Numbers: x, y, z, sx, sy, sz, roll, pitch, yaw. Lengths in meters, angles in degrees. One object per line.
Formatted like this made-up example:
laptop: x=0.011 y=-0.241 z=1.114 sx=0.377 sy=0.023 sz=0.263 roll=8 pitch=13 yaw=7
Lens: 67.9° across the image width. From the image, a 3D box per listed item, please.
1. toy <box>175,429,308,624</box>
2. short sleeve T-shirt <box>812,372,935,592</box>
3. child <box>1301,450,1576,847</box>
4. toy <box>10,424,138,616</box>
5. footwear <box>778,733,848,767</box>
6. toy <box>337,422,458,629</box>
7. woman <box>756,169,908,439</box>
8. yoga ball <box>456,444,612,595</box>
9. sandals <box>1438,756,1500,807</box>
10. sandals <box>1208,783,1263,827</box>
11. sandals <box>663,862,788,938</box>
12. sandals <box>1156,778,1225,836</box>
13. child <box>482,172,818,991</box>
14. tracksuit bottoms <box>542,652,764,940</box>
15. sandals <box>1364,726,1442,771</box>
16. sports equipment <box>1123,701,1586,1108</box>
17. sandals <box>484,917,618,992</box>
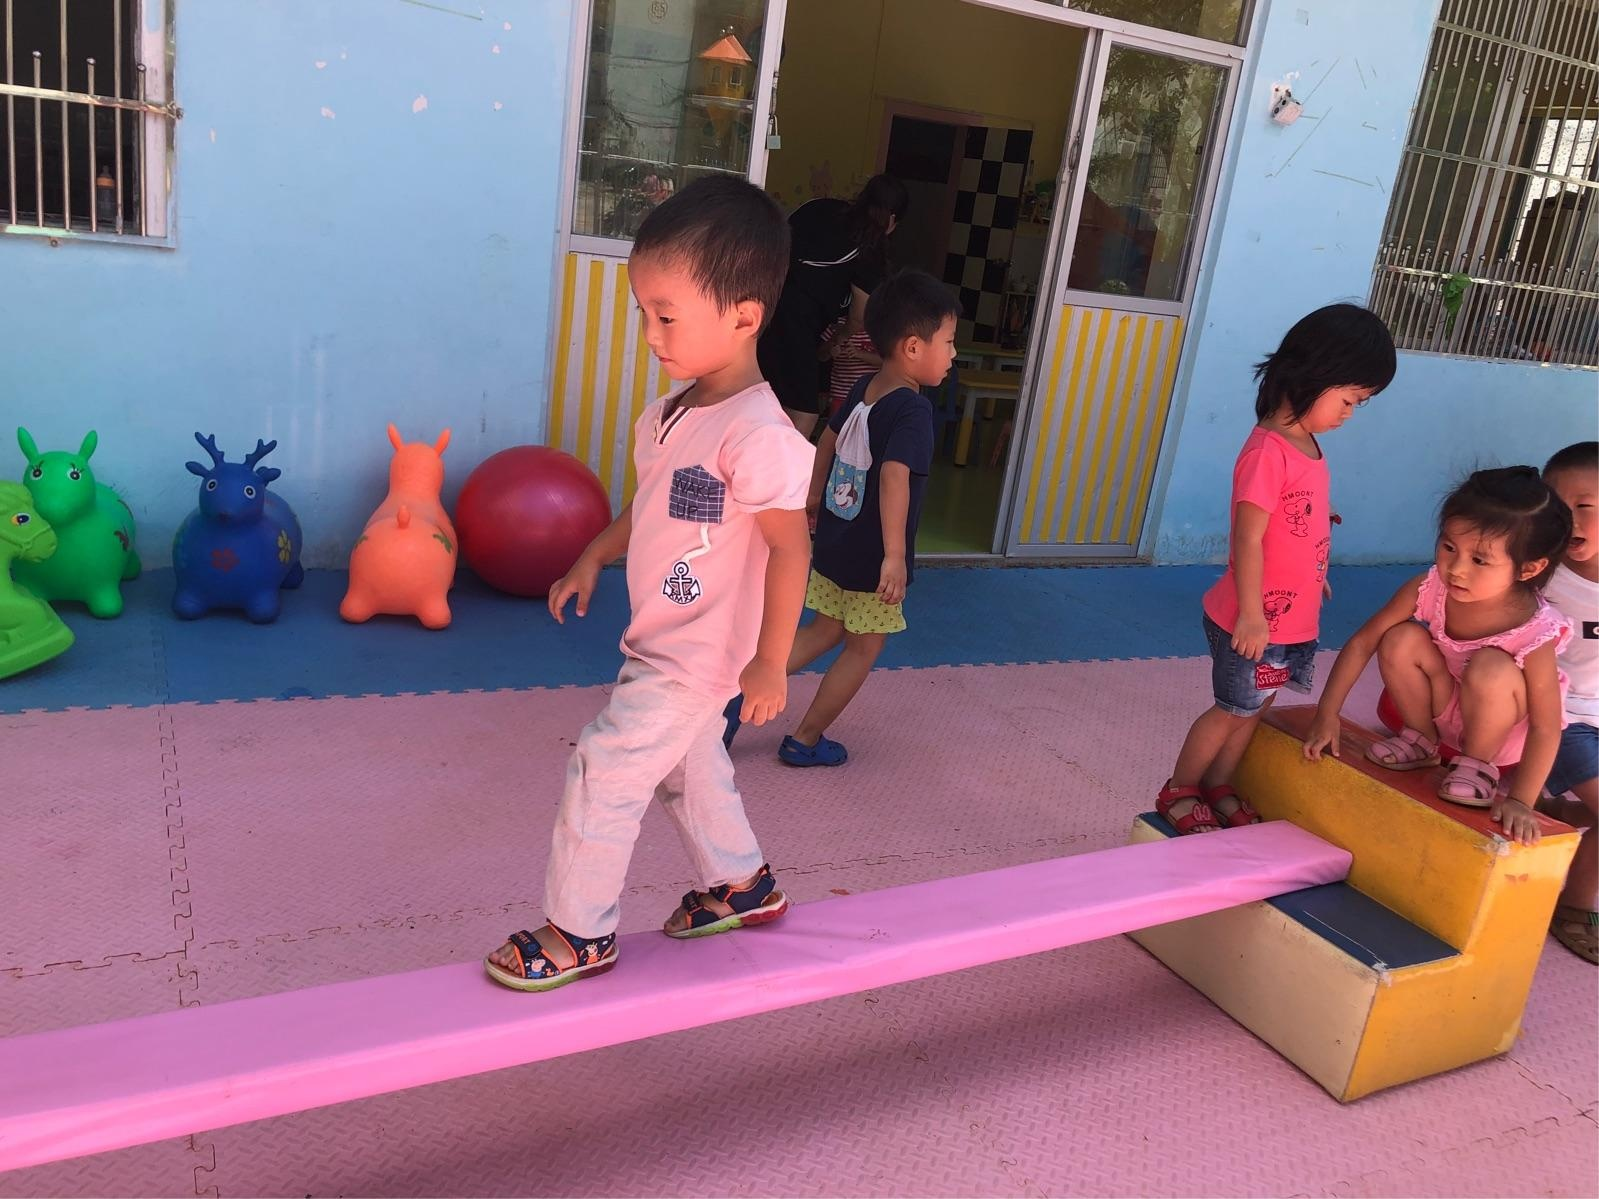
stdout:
toy: x=-1.943 y=-0.255 z=4.084 sx=0.435 sy=0.615 sz=0.333 roll=-7 pitch=20 yaw=-34
short sleeve T-shirt: x=0.195 y=-0.331 z=3.437 sx=0.193 sy=0.588 sz=0.420 roll=-11 pitch=22 yaw=-41
child: x=1.589 y=0.106 z=2.799 sx=0.530 sy=0.748 sz=0.569 roll=-8 pitch=24 yaw=-11
toy: x=-2.456 y=-0.286 z=3.972 sx=0.357 sy=0.616 sz=0.510 roll=2 pitch=23 yaw=-23
footwear: x=0.037 y=0.438 z=3.593 sx=0.161 sy=0.076 sz=0.100 roll=-4 pitch=18 yaw=-23
toy: x=-1.452 y=-0.271 z=4.272 sx=0.385 sy=0.645 sz=0.457 roll=0 pitch=17 yaw=-14
woman: x=0.129 y=-1.229 z=5.469 sx=0.547 sy=1.460 sz=0.512 roll=22 pitch=37 yaw=19
yoga ball: x=-1.061 y=-0.292 z=4.656 sx=0.598 sy=0.666 sz=0.656 roll=-3 pitch=-15 yaw=-1
sandals: x=1.552 y=0.410 z=2.735 sx=0.076 sy=0.058 sz=0.176 roll=5 pitch=11 yaw=33
sandals: x=1.102 y=0.531 z=3.009 sx=0.056 sy=0.045 sz=0.156 roll=-12 pitch=30 yaw=-18
sandals: x=-0.151 y=0.618 z=2.419 sx=0.244 sy=0.123 sz=0.109 roll=-5 pitch=23 yaw=-14
sandals: x=0.989 y=0.533 z=2.997 sx=0.077 sy=0.074 sz=0.165 roll=-7 pitch=19 yaw=-16
child: x=-0.271 y=-0.010 z=2.266 sx=0.544 sy=1.522 sz=0.670 roll=12 pitch=13 yaw=41
tracksuit bottoms: x=-0.301 y=0.327 z=2.379 sx=0.503 sy=0.664 sz=0.362 roll=4 pitch=15 yaw=-6
sandals: x=1.464 y=0.367 z=2.895 sx=0.179 sy=0.084 sz=0.096 roll=-1 pitch=18 yaw=-12
sports equipment: x=1.292 y=0.684 z=2.879 sx=0.557 sy=0.551 sz=0.785 roll=-3 pitch=16 yaw=-25
sandals: x=-0.458 y=0.634 z=2.175 sx=0.200 sy=0.094 sz=0.105 roll=0 pitch=14 yaw=-27
